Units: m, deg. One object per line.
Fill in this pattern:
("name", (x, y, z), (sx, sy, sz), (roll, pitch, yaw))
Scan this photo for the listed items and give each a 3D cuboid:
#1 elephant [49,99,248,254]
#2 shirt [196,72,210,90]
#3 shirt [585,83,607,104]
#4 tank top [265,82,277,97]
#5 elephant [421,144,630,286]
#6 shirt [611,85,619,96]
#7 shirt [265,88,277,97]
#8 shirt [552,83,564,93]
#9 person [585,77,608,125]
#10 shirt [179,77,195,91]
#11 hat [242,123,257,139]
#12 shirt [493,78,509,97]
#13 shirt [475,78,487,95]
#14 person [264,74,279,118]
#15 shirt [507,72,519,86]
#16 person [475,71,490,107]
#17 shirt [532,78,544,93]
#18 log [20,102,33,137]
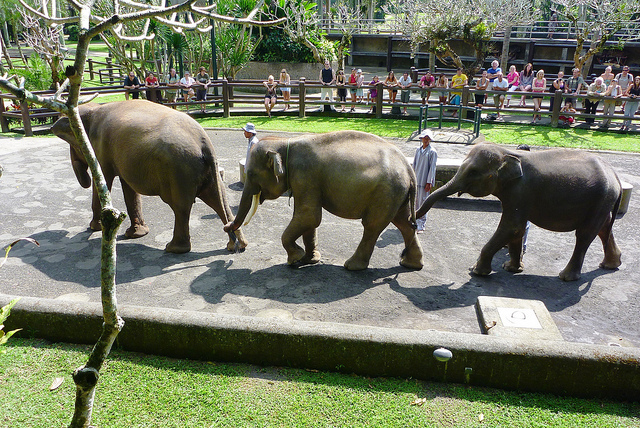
("elephant", (-3.278, -0.781, 9.541), (3.902, 2.589, 2.007), (7, 13, 18))
("shirt", (-4.880, -5.502, 20.597), (0.508, 0.663, 0.737), (-4, 19, -13))
("shirt", (9.744, -4.390, 17.793), (1.091, 0.622, 0.418), (-21, 16, -35))
("tank top", (-1.999, -5.008, 20.182), (0.461, 0.591, 0.354), (-2, 23, 6))
("elephant", (3.889, -0.060, 8.668), (3.919, 2.204, 1.645), (-6, 20, -20))
("shirt", (10.304, -4.340, 17.466), (0.269, 0.359, 0.123), (-9, 21, -26))
("shirt", (-1.989, -4.991, 20.197), (0.549, 0.539, 0.323), (-3, 13, -10))
("shirt", (8.857, -4.674, 18.445), (0.318, 0.304, 0.097), (-1, 12, 1))
("person", (9.857, -4.122, 17.970), (0.576, 1.608, 0.546), (9, 36, 22))
("shirt", (-5.473, -5.362, 20.521), (0.638, 0.617, 0.246), (1, -9, -1))
("hat", (-1.404, -1.688, 10.093), (0.274, 0.098, 0.264), (20, 27, -26))
("shirt", (6.872, -5.035, 19.085), (0.532, 0.330, 0.452), (6, 19, 17))
("shirt", (6.108, -4.775, 18.974), (0.511, 0.515, 0.551), (1, 23, 7))
("person", (-2.058, -4.751, 20.161), (0.467, 1.592, 0.954), (-2, 19, -6))
("shirt", (7.618, -5.354, 19.754), (0.450, 0.521, 0.552), (7, 19, 20))
("person", (6.156, -4.813, 19.154), (0.433, 1.319, 1.319), (6, 19, 16))
("shirt", (8.060, -4.793, 18.487), (0.358, 0.476, 0.542), (9, 20, 24))
("log", (-9.508, -3.057, 16.097), (0.231, 1.034, 0.429), (-10, 21, -28))
